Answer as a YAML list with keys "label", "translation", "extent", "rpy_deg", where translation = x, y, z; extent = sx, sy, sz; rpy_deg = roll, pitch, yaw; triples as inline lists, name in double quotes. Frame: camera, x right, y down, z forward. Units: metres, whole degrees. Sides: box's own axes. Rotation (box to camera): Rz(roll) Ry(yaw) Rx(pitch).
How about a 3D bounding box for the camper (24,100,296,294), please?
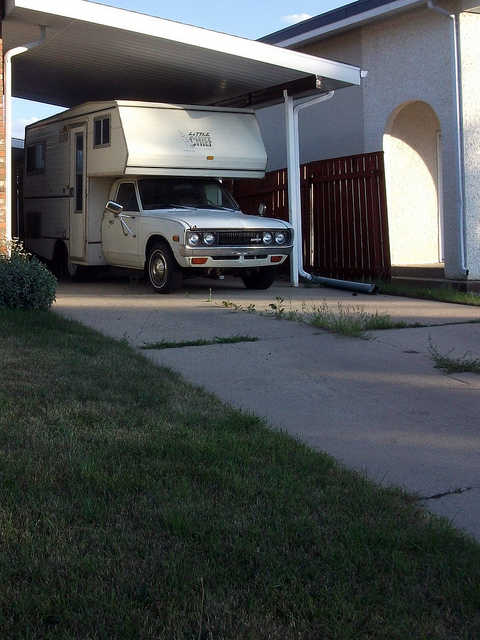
- label: "camper"
  translation: [-1.879, -2.099, 11.567]
  extent: [5.006, 3.175, 2.431]
  rpy_deg: [7, 9, 44]

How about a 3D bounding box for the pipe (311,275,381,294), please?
- label: "pipe"
  translation: [1.751, -0.641, 10.532]
  extent: [0.297, 0.239, 1.843]
  rpy_deg: [-10, 7, -19]
